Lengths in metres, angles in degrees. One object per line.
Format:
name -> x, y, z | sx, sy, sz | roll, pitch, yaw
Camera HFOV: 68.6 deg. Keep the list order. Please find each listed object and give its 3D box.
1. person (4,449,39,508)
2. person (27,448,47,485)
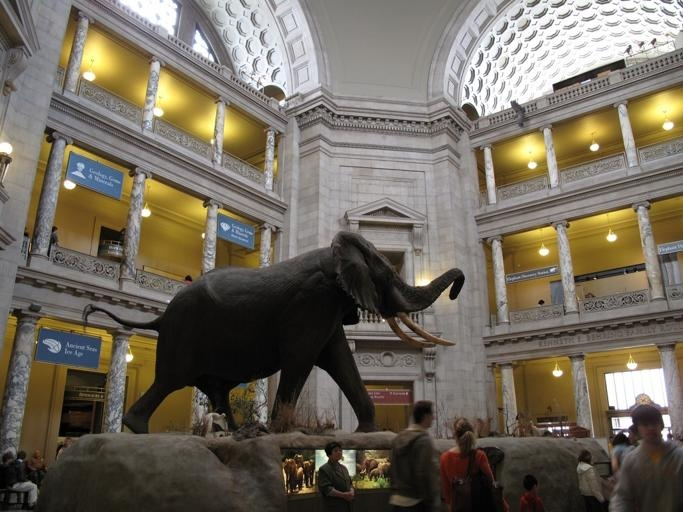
person -> -6.805, 4.690, 10.529 | 0.745, 1.093, 1.356 | 12, -23, -31
person -> -7.365, 5.077, 12.029 | 0.397, 0.967, 0.297 | 10, 12, -10
